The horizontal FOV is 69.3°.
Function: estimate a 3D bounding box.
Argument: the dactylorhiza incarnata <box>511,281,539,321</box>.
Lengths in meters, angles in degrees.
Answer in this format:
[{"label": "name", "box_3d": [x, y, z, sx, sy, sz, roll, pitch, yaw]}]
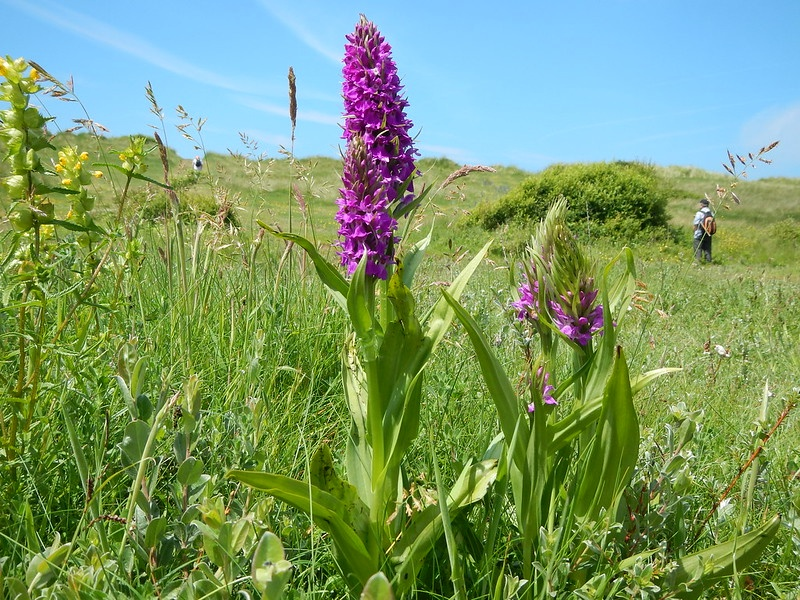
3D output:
[{"label": "dactylorhiza incarnata", "box_3d": [0.534, 0.003, 2.455, 0.065, 0.150, 0.134, -1, 8, 20]}]

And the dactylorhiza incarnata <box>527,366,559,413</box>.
[{"label": "dactylorhiza incarnata", "box_3d": [0.585, 0.393, 2.384, 0.134, 0.130, 0.162, 14, -33, -13]}]

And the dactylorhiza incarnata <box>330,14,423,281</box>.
[{"label": "dactylorhiza incarnata", "box_3d": [-0.112, -0.661, 2.499, 0.357, 1.153, 0.422, 0, 9, 1]}]

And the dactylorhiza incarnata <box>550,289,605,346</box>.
[{"label": "dactylorhiza incarnata", "box_3d": [0.723, 0.084, 2.416, 0.202, 0.233, 0.180, -6, -7, -27]}]
